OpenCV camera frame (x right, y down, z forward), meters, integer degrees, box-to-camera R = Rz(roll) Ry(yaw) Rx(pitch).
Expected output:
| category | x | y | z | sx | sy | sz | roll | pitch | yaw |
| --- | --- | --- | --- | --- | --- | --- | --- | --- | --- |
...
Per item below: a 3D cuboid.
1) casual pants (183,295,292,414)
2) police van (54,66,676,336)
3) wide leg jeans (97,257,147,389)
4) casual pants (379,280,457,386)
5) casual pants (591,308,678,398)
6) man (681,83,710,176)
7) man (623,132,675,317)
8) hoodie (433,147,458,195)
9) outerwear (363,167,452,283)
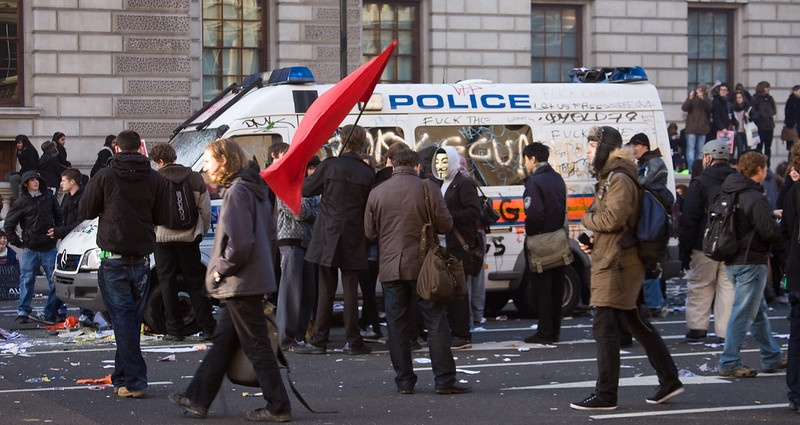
| category | x | y | z | sx | sy | sz | roll | pitch | yaw |
| --- | --- | --- | --- | --- | --- | --- | --- | --- | --- |
| casual pants | -2.898 | 2.569 | 24.991 | 1.768 | 2.167 | 0.272 | 0 | 1 | 9 |
| police van | -1.377 | -0.320 | 31.852 | 14.427 | 5.704 | 5.431 | 0 | -1 | -11 |
| wide leg jeans | -5.114 | 2.050 | 26.168 | 0.989 | 2.681 | 1.070 | -6 | -3 | 19 |
| casual pants | 0.411 | 2.104 | 26.029 | 1.284 | 2.526 | 0.692 | 1 | 17 | 15 |
| casual pants | 4.293 | 2.586 | 25.472 | 1.428 | 1.732 | 0.286 | -1 | 1 | -6 |
| man | 9.025 | -2.588 | 41.804 | 0.951 | 2.579 | 0.811 | 2 | 2 | -9 |
| man | 5.263 | -0.031 | 29.393 | 1.033 | 3.319 | 0.968 | -5 | 15 | -4 |
| hoodie | 0.949 | -0.866 | 28.103 | 0.687 | 0.987 | 0.653 | 4 | -7 | -22 |
| outerwear | 0.160 | 0.247 | 26.982 | 2.191 | 2.615 | 1.965 | -1 | -1 | 16 |
